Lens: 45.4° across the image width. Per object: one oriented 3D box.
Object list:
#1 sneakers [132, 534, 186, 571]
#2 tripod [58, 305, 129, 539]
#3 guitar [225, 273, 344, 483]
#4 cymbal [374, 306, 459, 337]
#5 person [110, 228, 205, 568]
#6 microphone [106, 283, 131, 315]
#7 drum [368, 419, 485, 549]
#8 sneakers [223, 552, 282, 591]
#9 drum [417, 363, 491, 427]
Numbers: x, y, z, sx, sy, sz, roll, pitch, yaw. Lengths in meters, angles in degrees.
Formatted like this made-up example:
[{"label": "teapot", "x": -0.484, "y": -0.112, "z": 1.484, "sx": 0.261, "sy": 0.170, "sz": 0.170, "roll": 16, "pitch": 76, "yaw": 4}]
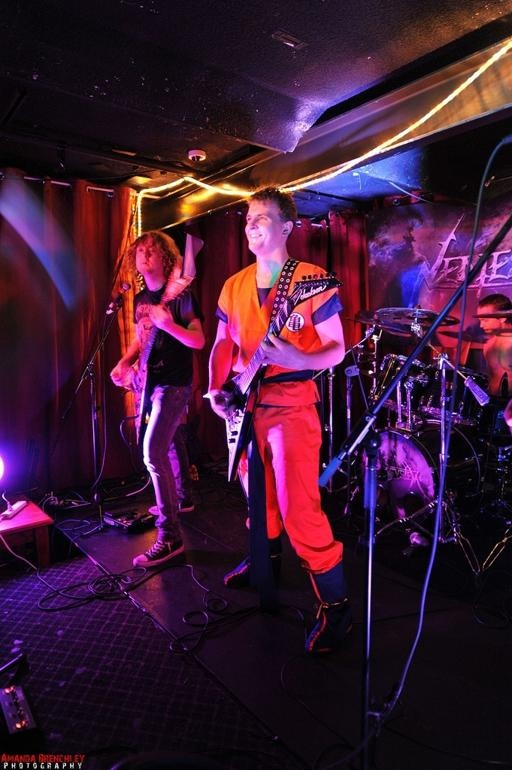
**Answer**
[{"label": "sneakers", "x": -0.510, "y": 0.889, "z": 3.237, "sx": 0.314, "sy": 0.148, "sz": 0.101, "roll": 4, "pitch": -4, "yaw": -40}, {"label": "tripod", "x": -1.152, "y": 0.180, "z": 4.236, "sx": 0.502, "sy": 1.561, "sz": 0.488, "roll": 4, "pitch": 16, "yaw": -6}, {"label": "guitar", "x": 0.077, "y": -0.043, "z": 2.386, "sx": 0.334, "sy": 0.895, "sz": 0.508, "roll": -4, "pitch": 9, "yaw": -21}, {"label": "cymbal", "x": 0.892, "y": -0.384, "z": 3.755, "sx": 0.333, "sy": 0.176, "sz": 0.540, "roll": 0, "pitch": 8, "yaw": 2}, {"label": "person", "x": -0.579, "y": 0.012, "z": 3.549, "sx": 0.488, "sy": 1.819, "sz": 1.017, "roll": -2, "pitch": 9, "yaw": -11}, {"label": "microphone", "x": -0.890, "y": -0.557, "z": 3.925, "sx": 0.168, "sy": 0.142, "sz": 0.465, "roll": -4, "pitch": -6, "yaw": -13}, {"label": "drum", "x": 0.982, "y": 0.575, "z": 3.611, "sx": 0.493, "sy": 0.655, "sz": 0.606, "roll": -4, "pitch": 2, "yaw": -38}, {"label": "sneakers", "x": -0.028, "y": 0.871, "z": 2.838, "sx": 0.417, "sy": 0.162, "sz": 0.141, "roll": -3, "pitch": -17, "yaw": 7}, {"label": "drum", "x": 1.173, "y": 0.064, "z": 3.633, "sx": 0.427, "sy": 0.324, "sz": 0.402, "roll": 17, "pitch": 3, "yaw": -1}]
